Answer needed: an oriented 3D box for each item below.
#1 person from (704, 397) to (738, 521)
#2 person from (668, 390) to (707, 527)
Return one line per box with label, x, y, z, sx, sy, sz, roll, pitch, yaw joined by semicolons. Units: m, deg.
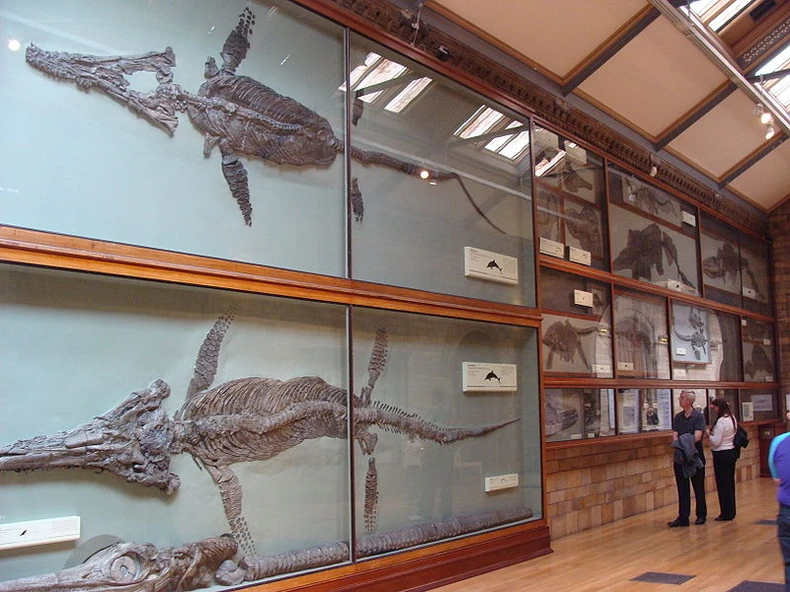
person;4.815;2.361;8.964;0.358;1.720;0.496;-5;-9;37
person;4.143;2.280;8.748;0.518;1.833;0.695;-3;-8;27
